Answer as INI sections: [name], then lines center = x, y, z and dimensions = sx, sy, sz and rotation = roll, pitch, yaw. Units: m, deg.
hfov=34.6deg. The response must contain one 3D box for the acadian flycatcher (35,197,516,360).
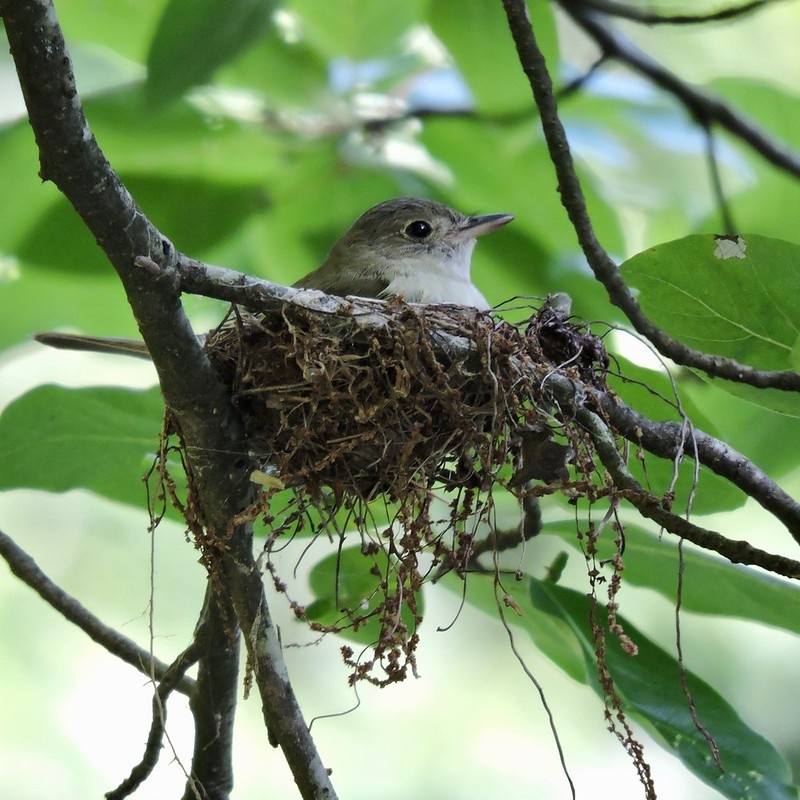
[acadian flycatcher]
center = -0.196, -0.248, 2.624
dimensions = 1.250, 0.356, 0.412
rotation = -1, -84, -3
